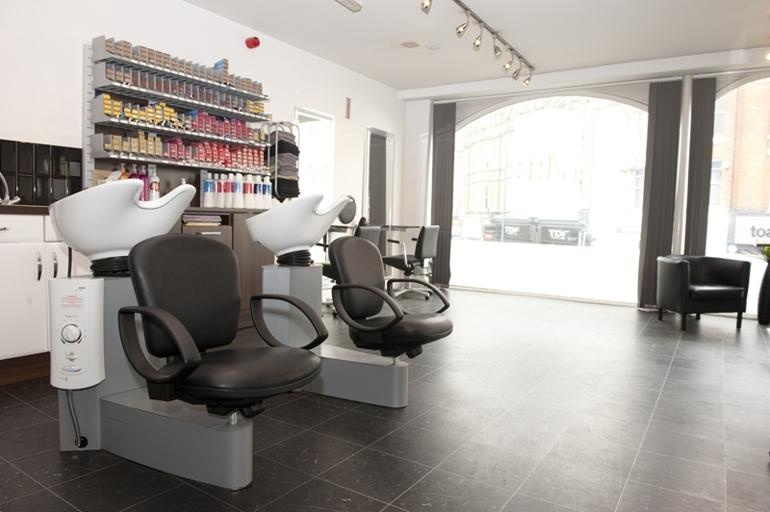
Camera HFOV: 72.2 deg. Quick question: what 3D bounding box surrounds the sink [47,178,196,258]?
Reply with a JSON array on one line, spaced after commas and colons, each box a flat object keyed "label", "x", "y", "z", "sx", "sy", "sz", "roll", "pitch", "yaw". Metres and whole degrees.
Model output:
[{"label": "sink", "x": -1.659, "y": -0.231, "z": 3.417, "sx": 0.706, "sy": 0.393, "sz": 0.626, "roll": 3, "pitch": -7, "yaw": -19}]

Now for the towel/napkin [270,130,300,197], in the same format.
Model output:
[{"label": "towel/napkin", "x": -1.212, "y": -1.083, "z": 6.313, "sx": 0.354, "sy": 0.839, "sz": 0.345, "roll": -2, "pitch": 15, "yaw": -12}]

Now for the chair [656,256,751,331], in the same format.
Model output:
[{"label": "chair", "x": 3.971, "y": 0.409, "z": 6.749, "sx": 0.850, "sy": 0.732, "sz": 0.788, "roll": 0, "pitch": 5, "yaw": -4}]

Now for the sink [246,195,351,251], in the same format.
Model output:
[{"label": "sink", "x": -0.699, "y": -0.221, "z": 4.172, "sx": 0.638, "sy": 0.292, "sz": 0.483, "roll": -11, "pitch": -5, "yaw": 8}]

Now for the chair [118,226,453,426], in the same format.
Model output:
[{"label": "chair", "x": -0.837, "y": 0.429, "z": 3.145, "sx": 1.187, "sy": 0.723, "sz": 1.229, "roll": -2, "pitch": -2, "yaw": 29}]
